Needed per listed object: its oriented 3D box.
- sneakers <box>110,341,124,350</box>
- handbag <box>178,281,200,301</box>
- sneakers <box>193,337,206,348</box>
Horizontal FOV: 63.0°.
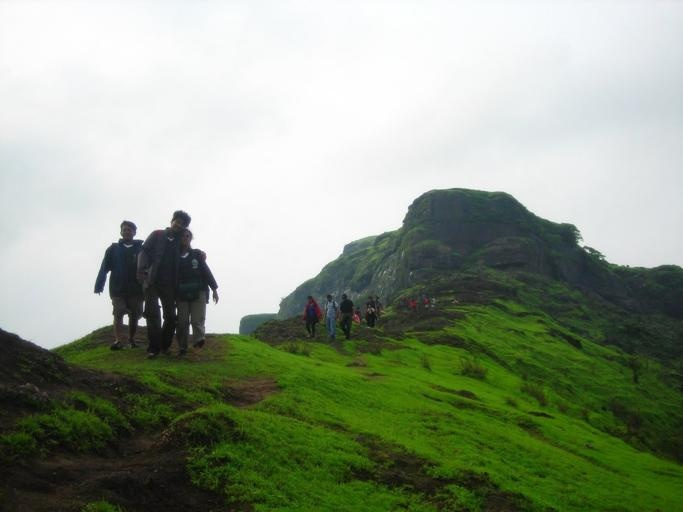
[{"bbox_3d":[-5.551,2.195,13.793,0.287,0.222,0.333,11,1,-25],"label":"sneakers"},{"bbox_3d":[-3.678,0.842,13.736,0.606,0.639,0.407,1,-15,-11],"label":"handbag"},{"bbox_3d":[-3.507,2.146,13.867,0.276,0.275,0.229,7,-13,13],"label":"sneakers"}]
